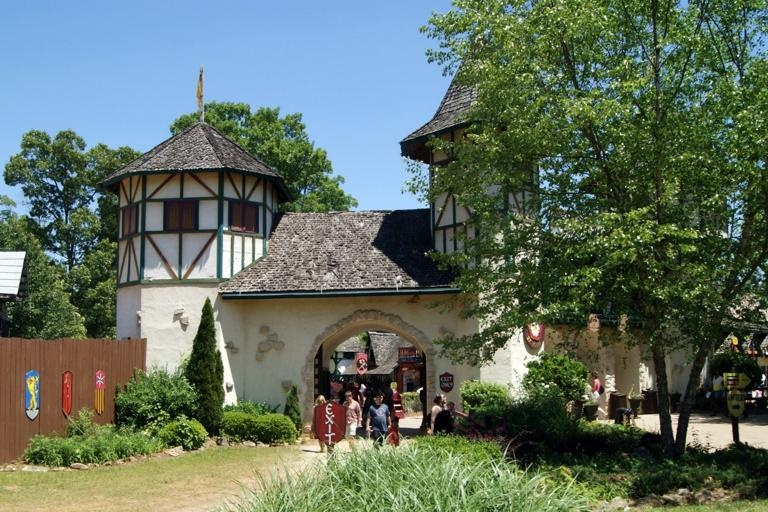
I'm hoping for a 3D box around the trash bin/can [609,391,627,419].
[{"bbox_3d":[8.925,5.812,40.577,0.683,1.019,0.991,1,7,13],"label":"trash bin/can"}]

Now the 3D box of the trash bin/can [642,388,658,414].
[{"bbox_3d":[10.743,5.913,42.977,0.660,0.893,0.735,0,7,4],"label":"trash bin/can"}]
